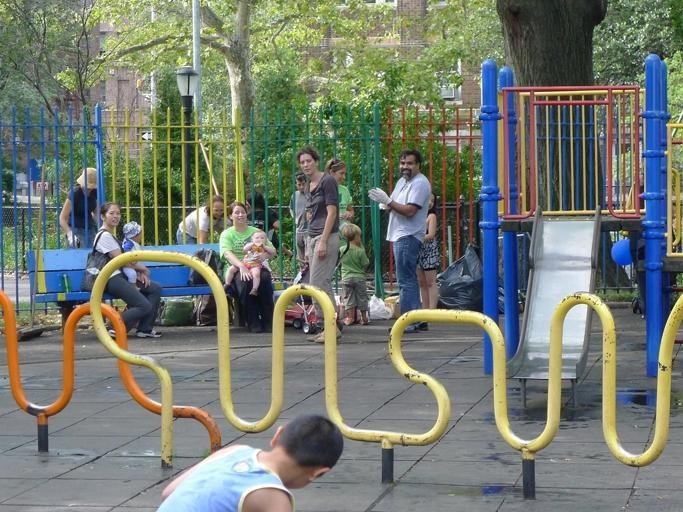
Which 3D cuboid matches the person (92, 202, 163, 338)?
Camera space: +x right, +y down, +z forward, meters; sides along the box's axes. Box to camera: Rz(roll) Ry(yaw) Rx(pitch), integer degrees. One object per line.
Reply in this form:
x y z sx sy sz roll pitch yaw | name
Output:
-2.822 0.191 19.032 0.938 1.772 0.703 3 5 6 | person

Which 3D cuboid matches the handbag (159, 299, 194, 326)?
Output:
-2.336 0.810 20.763 0.424 0.351 0.414 2 -6 -26 | handbag

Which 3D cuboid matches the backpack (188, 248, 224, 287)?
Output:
-1.602 0.145 17.389 0.507 0.542 0.298 0 5 -3 | backpack

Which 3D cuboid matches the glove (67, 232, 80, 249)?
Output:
-3.794 -0.230 20.754 0.161 0.219 0.072 -1 12 23 | glove

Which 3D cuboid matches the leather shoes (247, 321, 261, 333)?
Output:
-1.170 0.974 19.780 0.152 0.120 0.127 -5 -1 4 | leather shoes

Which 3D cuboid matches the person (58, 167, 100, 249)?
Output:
-3.755 -0.663 20.964 0.514 1.255 0.480 3 8 -14 | person

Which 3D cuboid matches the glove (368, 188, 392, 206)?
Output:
0.471 -0.777 18.554 0.208 0.122 0.266 33 -6 -25 | glove

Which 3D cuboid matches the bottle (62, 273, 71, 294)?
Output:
-3.665 0.358 19.533 0.120 0.247 0.113 -3 5 0 | bottle

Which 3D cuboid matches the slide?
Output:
2.375 0.504 16.138 0.995 1.979 2.098 -2 5 10 | slide

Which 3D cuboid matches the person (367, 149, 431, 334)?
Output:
0.727 -0.223 18.787 0.864 2.286 0.827 -1 2 -7 | person

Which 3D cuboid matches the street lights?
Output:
-2.543 -1.914 24.360 0.482 2.693 0.454 14 23 33 | street lights

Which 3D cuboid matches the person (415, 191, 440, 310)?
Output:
1.199 -0.065 19.571 0.343 1.479 0.294 10 8 24 | person
